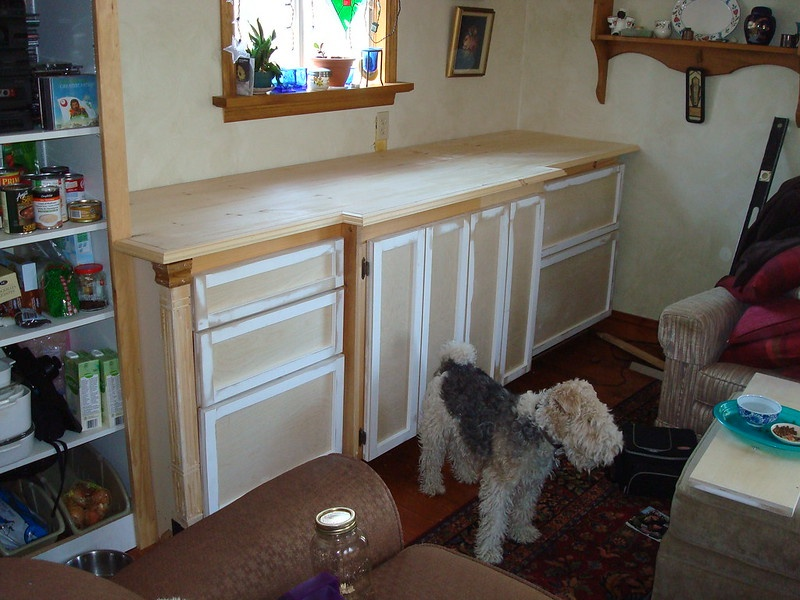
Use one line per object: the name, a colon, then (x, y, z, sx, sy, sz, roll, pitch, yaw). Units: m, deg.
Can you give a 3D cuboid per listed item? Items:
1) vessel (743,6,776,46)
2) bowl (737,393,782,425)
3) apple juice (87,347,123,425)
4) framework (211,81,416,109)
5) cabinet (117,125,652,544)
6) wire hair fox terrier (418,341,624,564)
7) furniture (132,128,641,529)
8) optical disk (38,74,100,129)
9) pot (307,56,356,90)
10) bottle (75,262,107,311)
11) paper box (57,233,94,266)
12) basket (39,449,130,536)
vessel: (1.827, -1.375, 3.083, 0.162, 0.179, 0.123, -8, 24, -14)
bowl: (1.191, 0.354, 2.041, 0.098, 0.057, 0.101, 3, 12, -1)
apple juice: (-0.976, 0.279, 2.027, 0.097, 0.309, 0.166, -9, 22, -33)
framework: (-0.344, -0.936, 2.876, 0.103, 0.123, 1.128, 19, 31, 40)
cabinet: (0.048, -0.029, 2.986, 2.948, 1.178, 0.944, -21, 29, -40)
wire hair fox terrier: (0.402, 0.535, 2.247, 0.320, 0.736, 0.824, -10, 24, -38)
furniture: (0.035, -0.029, 2.909, 2.615, 1.072, 0.817, -18, 26, -38)
optical disk: (-0.962, -0.578, 1.773, 0.131, 0.115, 0.042, -18, 30, -41)
pot: (-0.306, -1.063, 2.899, 0.149, 0.096, 0.152, -3, 19, 1)
bottle: (-1.009, -0.045, 2.004, 0.127, 0.136, 0.129, -6, 21, -27)
paper box: (-1.044, -0.165, 1.987, 0.077, 0.073, 0.041, 22, 33, 33)
basket: (-1.100, 0.652, 2.133, 0.325, 0.115, 0.212, 40, 39, 20)
